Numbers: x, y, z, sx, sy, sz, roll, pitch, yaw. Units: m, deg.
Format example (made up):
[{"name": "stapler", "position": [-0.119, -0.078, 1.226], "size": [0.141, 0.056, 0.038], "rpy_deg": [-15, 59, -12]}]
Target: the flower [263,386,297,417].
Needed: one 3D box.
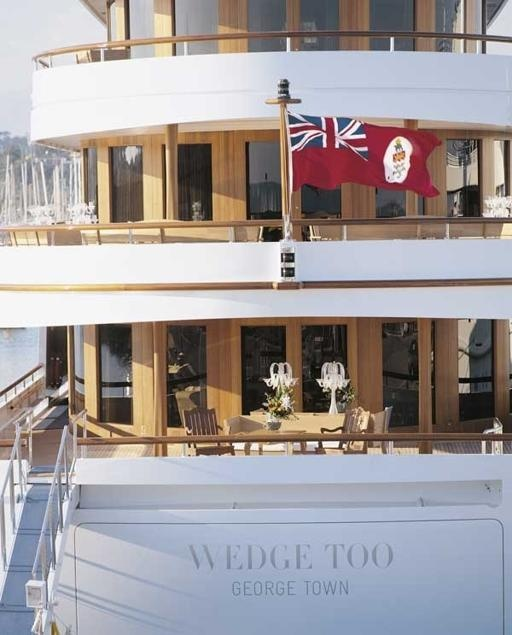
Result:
[{"name": "flower", "position": [0.388, 1.367, 18.644], "size": [0.390, 0.741, 0.497], "rpy_deg": [2, 5, 9]}]

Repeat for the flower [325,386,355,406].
[{"name": "flower", "position": [1.638, 1.296, 19.713], "size": [0.273, 0.322, 0.296], "rpy_deg": [5, -7, -34]}]

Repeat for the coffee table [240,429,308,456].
[{"name": "coffee table", "position": [0.309, 1.860, 17.423], "size": [0.976, 0.463, 1.583], "rpy_deg": [3, -10, 0]}]

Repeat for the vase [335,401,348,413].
[{"name": "vase", "position": [1.565, 1.488, 19.713], "size": [0.120, 0.183, 0.146], "rpy_deg": [4, 8, 23]}]

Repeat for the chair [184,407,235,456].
[{"name": "chair", "position": [-0.728, 1.870, 18.233], "size": [0.537, 1.066, 0.643], "rpy_deg": [-3, -1, 28]}]

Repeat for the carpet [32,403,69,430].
[{"name": "carpet", "position": [-4.217, 1.916, 22.446], "size": [0.657, 0.633, 2.504], "rpy_deg": [3, -10, -9]}]
